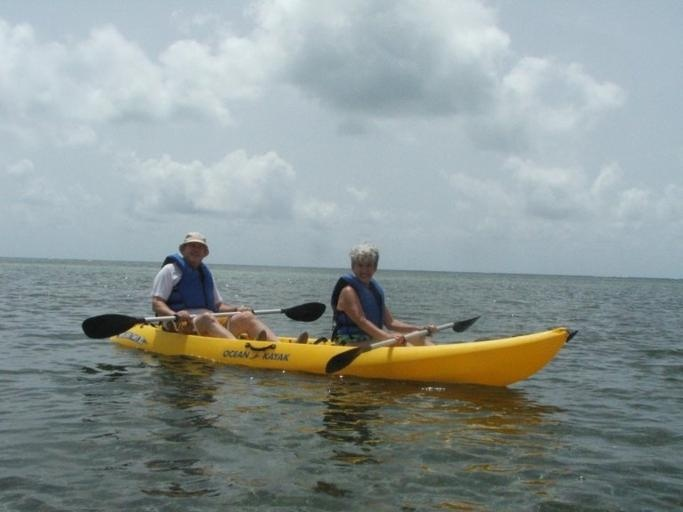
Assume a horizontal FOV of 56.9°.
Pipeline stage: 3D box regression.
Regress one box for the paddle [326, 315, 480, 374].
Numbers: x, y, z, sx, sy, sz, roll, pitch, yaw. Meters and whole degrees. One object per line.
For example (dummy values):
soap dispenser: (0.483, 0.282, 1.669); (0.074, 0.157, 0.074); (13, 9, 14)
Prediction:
paddle: (0.785, 1.206, 8.397); (2.580, 0.258, 0.259); (-15, -19, 5)
